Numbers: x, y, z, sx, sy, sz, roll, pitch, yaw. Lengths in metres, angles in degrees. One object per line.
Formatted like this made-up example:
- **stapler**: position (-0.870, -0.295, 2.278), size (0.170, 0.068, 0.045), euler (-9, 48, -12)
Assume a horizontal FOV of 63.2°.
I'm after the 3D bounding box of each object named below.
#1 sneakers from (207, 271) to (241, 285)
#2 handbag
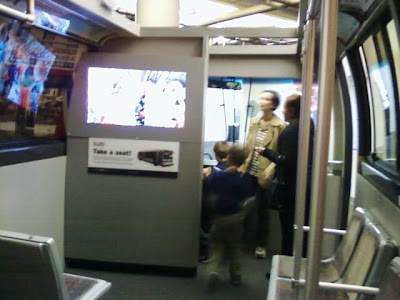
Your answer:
- **sneakers**: position (0.222, 1.154, 2.919), size (0.307, 0.137, 0.118), euler (2, 4, 8)
- **handbag**: position (0.708, 0.293, 3.000), size (0.087, 0.541, 0.169), euler (-1, 4, -32)
